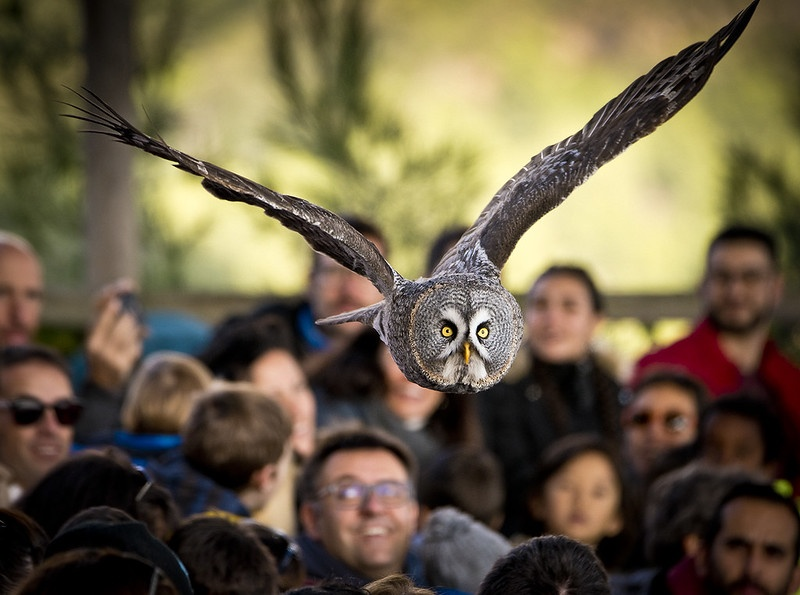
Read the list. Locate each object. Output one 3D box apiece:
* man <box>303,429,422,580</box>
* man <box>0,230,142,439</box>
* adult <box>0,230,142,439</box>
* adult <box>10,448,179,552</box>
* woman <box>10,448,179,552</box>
[{"bbox_3d":[-0.190,1.204,10.542,0.723,0.817,0.734,10,-23,-38],"label":"man"},{"bbox_3d":[-2.064,0.259,11.116,0.522,1.343,1.144,-8,-16,23],"label":"man"},{"bbox_3d":[-2.064,0.259,11.116,0.522,1.343,1.144,-8,-16,23],"label":"adult"},{"bbox_3d":[-1.796,1.117,10.169,0.694,0.469,0.929,8,2,-2],"label":"adult"},{"bbox_3d":[-1.686,1.116,9.878,0.800,0.380,0.467,5,20,-27],"label":"woman"}]
